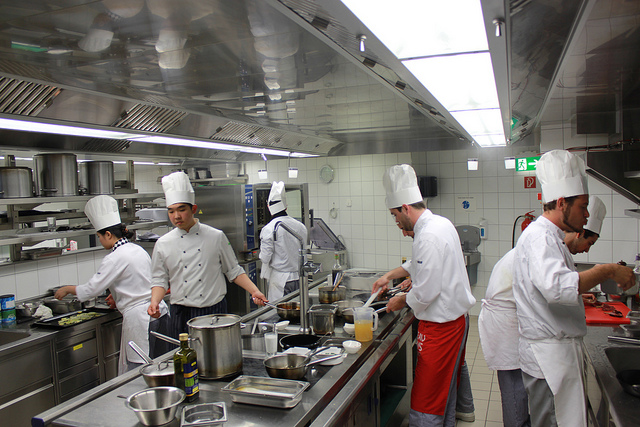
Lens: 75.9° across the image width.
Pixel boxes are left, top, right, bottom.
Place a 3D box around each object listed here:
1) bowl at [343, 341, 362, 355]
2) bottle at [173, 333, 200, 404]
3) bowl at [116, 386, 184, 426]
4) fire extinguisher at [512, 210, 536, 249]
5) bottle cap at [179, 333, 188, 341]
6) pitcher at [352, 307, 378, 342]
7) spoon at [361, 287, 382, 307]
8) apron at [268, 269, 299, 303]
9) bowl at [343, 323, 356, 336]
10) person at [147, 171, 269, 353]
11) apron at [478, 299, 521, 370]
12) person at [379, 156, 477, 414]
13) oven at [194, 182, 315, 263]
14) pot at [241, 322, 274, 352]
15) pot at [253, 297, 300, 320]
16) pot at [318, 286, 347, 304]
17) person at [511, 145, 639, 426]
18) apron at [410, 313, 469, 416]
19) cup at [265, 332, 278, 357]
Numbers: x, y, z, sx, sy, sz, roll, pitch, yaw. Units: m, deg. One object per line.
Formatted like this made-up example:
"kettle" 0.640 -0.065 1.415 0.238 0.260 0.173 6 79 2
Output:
"bowl" 0.200 0.788 2.429 0.083 0.027 0.081 -1 2 0
"bottle" -0.667 0.744 2.040 0.110 0.352 0.176 -4 0 -17
"bowl" -0.766 0.894 1.894 0.221 0.044 0.146 1 2 6
"fire extinguisher" 2.790 0.202 5.544 0.299 0.461 0.313 -4 0 24
"bottle cap" -0.669 0.595 1.997 0.049 0.034 0.044 0 -3 -3
"pitcher" 0.292 0.699 2.618 0.224 0.180 0.160 0 -3 6
"spoon" 0.401 0.586 2.937 0.051 0.057 0.421 -19 0 22
"apron" -0.394 0.781 4.846 0.377 0.556 0.460 -1 -1 -4
"bowl" 0.202 0.756 2.689 0.053 0.075 0.083 -4 0 -11
"person" -0.935 0.315 3.164 0.739 1.402 0.611 -4 0 -21
"apron" 1.281 0.859 2.891 0.110 0.455 0.332 -5 0 -35
"person" 0.768 0.512 3.366 0.656 1.677 1.263 -4 0 -4
"oven" -0.737 0.122 6.455 0.904 0.991 1.154 -17 1 -19
"pot" -0.395 0.755 2.545 0.187 0.146 0.155 -1 1 -20
"pot" -0.265 0.675 2.921 0.242 0.145 0.339 -3 -1 -8
"pot" 0.103 0.629 3.224 0.173 0.068 0.154 0 -2 -3
"person" 1.488 0.448 2.433 0.489 1.536 0.375 -4 0 -4
"apron" 0.838 1.040 2.849 0.405 0.647 0.220 -4 0 15
"cup" -0.279 0.756 2.387 0.069 0.136 0.129 -4 0 -9
